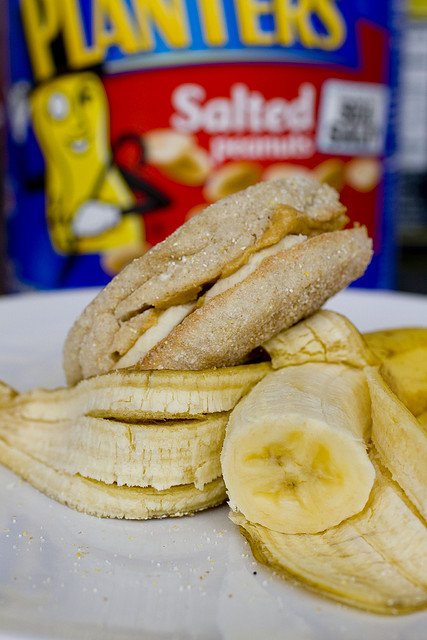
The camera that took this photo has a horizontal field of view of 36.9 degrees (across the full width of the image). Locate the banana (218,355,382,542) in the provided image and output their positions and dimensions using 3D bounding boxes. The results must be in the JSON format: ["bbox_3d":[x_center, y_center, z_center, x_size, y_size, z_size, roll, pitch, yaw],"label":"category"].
[{"bbox_3d":[0.087,0.115,0.625,0.149,0.125,0.169,1,13,8],"label":"banana"}]

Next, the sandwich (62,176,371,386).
[{"bbox_3d":[0.080,-0.062,0.837,0.390,0.169,0.407,-18,-9,-37],"label":"sandwich"}]

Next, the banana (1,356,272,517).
[{"bbox_3d":[-0.101,0.107,0.688,0.229,0.082,0.170,2,3,15],"label":"banana"}]
